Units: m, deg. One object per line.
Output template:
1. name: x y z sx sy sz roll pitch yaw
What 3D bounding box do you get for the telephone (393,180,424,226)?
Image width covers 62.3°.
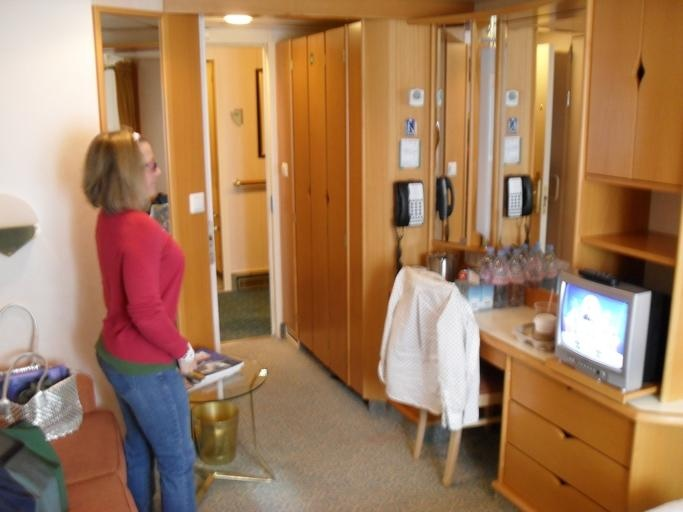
1. telephone: 0.464 -0.308 3.678 0.169 0.319 0.150 -2 -19 7

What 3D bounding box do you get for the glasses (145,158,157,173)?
1. glasses: -0.855 -0.404 2.548 0.013 0.045 0.044 -33 8 15

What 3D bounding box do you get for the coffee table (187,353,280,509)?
1. coffee table: -0.597 1.050 3.387 0.593 0.680 0.726 -1 7 -18

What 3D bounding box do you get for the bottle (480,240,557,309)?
1. bottle: 1.064 0.117 3.383 0.345 0.321 0.123 0 16 3

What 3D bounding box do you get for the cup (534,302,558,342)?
1. cup: 1.092 0.356 3.025 0.138 0.178 0.196 1 5 6

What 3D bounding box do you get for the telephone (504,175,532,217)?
1. telephone: 1.087 -0.388 3.469 0.167 0.269 0.156 5 35 24

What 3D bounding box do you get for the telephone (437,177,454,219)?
1. telephone: 0.679 -0.384 3.710 0.125 0.284 0.106 -1 20 12
